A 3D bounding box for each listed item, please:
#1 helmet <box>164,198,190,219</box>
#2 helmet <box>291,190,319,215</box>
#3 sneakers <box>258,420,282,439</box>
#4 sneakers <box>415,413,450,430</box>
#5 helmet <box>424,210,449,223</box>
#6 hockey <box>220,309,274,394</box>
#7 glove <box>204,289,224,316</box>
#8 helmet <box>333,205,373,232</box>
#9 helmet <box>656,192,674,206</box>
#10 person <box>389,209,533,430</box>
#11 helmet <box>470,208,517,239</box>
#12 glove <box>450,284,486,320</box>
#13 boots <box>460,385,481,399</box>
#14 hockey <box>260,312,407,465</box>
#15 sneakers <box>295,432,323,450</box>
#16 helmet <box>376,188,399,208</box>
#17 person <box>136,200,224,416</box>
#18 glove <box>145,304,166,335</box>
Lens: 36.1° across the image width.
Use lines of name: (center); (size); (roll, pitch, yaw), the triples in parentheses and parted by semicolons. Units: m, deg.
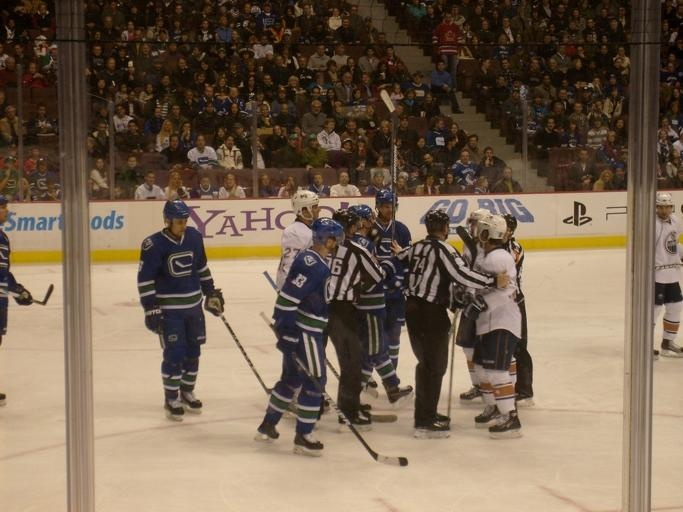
helmet: (-1.380, -0.399, 8.834); (0.196, 0.171, 0.151); (-8, 10, -1)
helmet: (-0.320, -0.480, 9.144); (0.219, 0.163, 0.167); (7, 5, -3)
sneakers: (-0.592, 1.391, 8.527); (0.205, 0.186, 0.108); (2, 6, 2)
sneakers: (0.789, 1.358, 8.631); (0.352, 0.140, 0.113); (-3, 5, -13)
helmet: (0.805, -0.328, 8.707); (0.165, 0.118, 0.160); (2, -1, 0)
hockey: (-0.933, 0.955, 10.279); (0.080, 0.870, 0.132); (-45, -17, 33)
glove: (-1.099, 0.395, 9.072); (0.161, 0.212, 0.080); (7, 3, -11)
helmet: (0.056, -0.334, 8.987); (0.283, 0.241, 0.219); (-25, -13, 36)
helmet: (3.135, -0.549, 10.178); (0.129, 0.120, 0.263); (-2, 4, 14)
person: (0.939, 0.532, 8.687); (0.905, 1.821, 0.468); (-3, 5, 2)
helmet: (1.240, -0.258, 8.660); (0.298, 0.221, 0.230); (-7, 6, 27)
glove: (1.032, 0.363, 8.560); (0.192, 0.142, 0.439); (-7, 4, -20)
boots: (1.154, 1.214, 9.380); (0.210, 0.089, 0.095); (0, 0, -12)
hockey: (-0.048, 1.103, 8.632); (1.504, 0.267, 0.250); (45, 27, 23)
sneakers: (-0.269, 1.463, 8.354); (0.273, 0.124, 0.098); (-1, 2, 10)
helmet: (0.438, -0.524, 9.323); (0.145, 0.163, 0.198); (-6, 2, -27)
person: (-1.379, 0.440, 8.931); (0.322, 1.816, 0.722); (1, 6, 41)
glove: (-1.551, 0.525, 8.731); (0.203, 0.192, 0.092); (3, 9, 12)
